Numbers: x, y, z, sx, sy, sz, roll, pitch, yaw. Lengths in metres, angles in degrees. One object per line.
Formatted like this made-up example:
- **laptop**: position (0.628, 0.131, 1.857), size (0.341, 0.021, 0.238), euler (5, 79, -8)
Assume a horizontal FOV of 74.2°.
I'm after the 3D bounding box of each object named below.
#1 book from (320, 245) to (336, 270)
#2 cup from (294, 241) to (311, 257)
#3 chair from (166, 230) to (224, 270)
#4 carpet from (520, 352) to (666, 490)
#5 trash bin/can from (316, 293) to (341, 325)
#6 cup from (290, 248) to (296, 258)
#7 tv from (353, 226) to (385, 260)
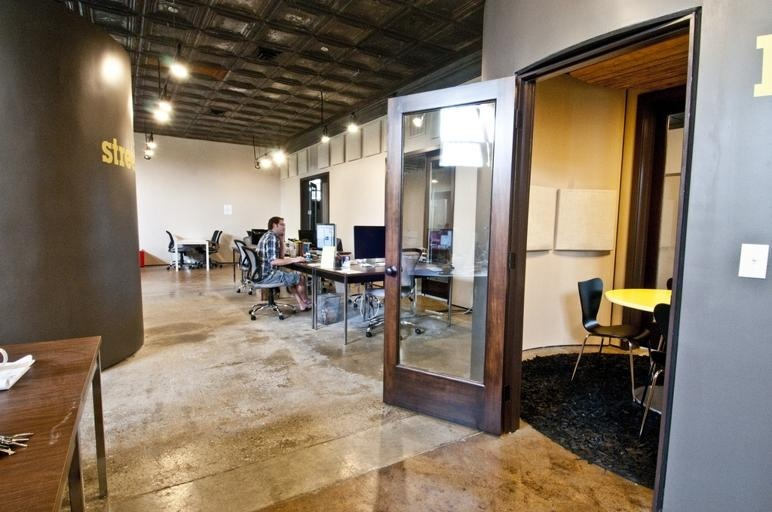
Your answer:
- **book**: position (-0.711, 0.029, 6.368), size (0.046, 0.304, 0.323), euler (-1, 5, -39)
- **cup**: position (-1.282, -0.113, 7.926), size (0.235, 0.296, 0.261), euler (2, 5, -3)
- **chair**: position (-4.779, -0.160, 12.650), size (1.229, 0.956, 1.496), euler (-3, 4, -23)
- **carpet**: position (1.867, 1.407, 4.792), size (1.256, 0.506, 1.818), euler (1, 4, 24)
- **trash bin/can**: position (-0.811, 0.798, 7.559), size (0.456, 0.433, 0.380), euler (-1, 4, -40)
- **cup**: position (-1.442, -0.039, 8.031), size (0.105, 0.127, 0.183), euler (5, -6, -26)
- **tv**: position (-0.194, -0.165, 6.276), size (0.434, 0.405, 0.044), euler (-4, 9, -20)
